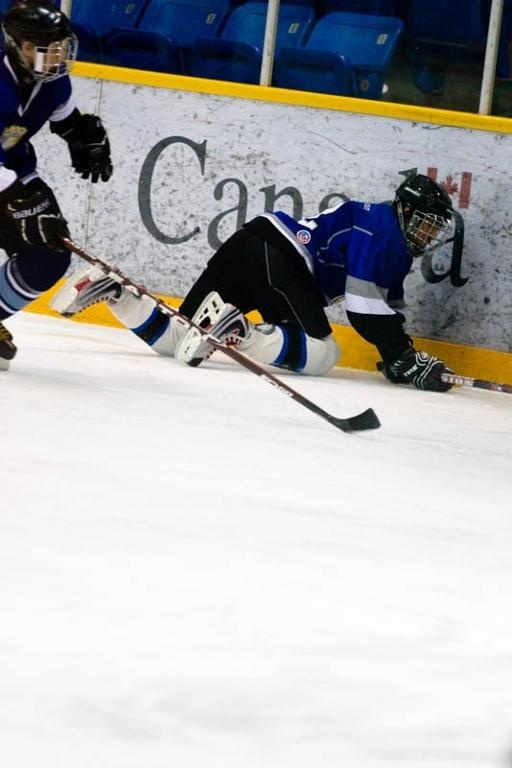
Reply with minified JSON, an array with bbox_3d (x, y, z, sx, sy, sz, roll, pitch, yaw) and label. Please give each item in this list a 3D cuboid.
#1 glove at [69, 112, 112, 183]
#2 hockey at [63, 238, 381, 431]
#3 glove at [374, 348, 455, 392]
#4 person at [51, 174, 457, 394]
[{"bbox_3d":[-0.588,-0.873,2.558,0.182,0.265,0.078,-2,25,2],"label":"glove"},{"bbox_3d":[-0.075,-0.176,2.557,1.515,0.126,0.216,28,72,27],"label":"hockey"},{"bbox_3d":[0.646,-0.050,2.943,0.280,0.121,0.149,16,44,18],"label":"glove"},{"bbox_3d":[0.049,-0.487,3.153,1.775,0.927,0.711,7,5,-20],"label":"person"}]
